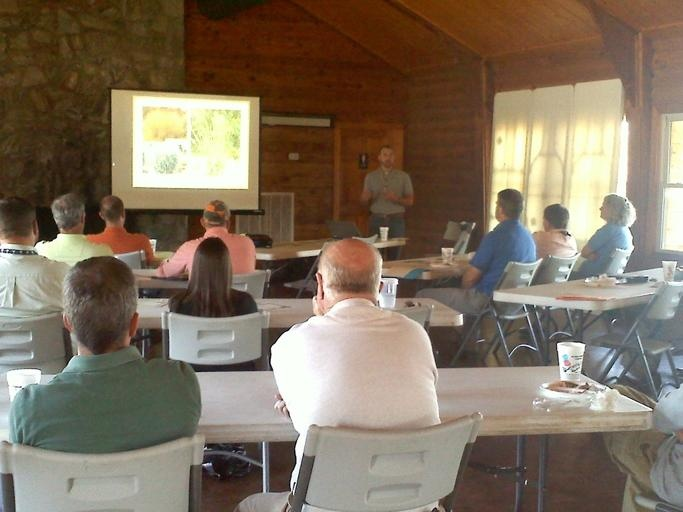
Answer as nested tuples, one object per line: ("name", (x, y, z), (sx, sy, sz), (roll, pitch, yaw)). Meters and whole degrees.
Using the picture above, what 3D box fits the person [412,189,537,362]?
("person", (1.212, 0.208, 5.500), (0.818, 1.484, 0.888), (-1, 3, -33))

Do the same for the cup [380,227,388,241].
("cup", (0.495, -0.251, 7.382), (0.133, 0.160, 0.138), (2, 3, 0))

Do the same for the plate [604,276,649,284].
("plate", (2.112, 0.174, 4.732), (0.266, 0.035, 0.380), (4, 7, 25))

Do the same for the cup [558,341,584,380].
("cup", (0.896, 0.428, 2.552), (0.126, 0.132, 0.122), (2, -11, 0))

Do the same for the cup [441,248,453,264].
("cup", (0.923, 0.002, 5.660), (0.140, 0.150, 0.135), (2, 5, 0))

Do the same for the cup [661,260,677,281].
("cup", (2.239, 0.107, 4.403), (0.076, 0.142, 0.300), (4, 8, 26))

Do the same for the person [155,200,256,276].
("person", (-0.911, -0.112, 4.685), (0.807, 0.562, 0.421), (-7, 19, -24))
